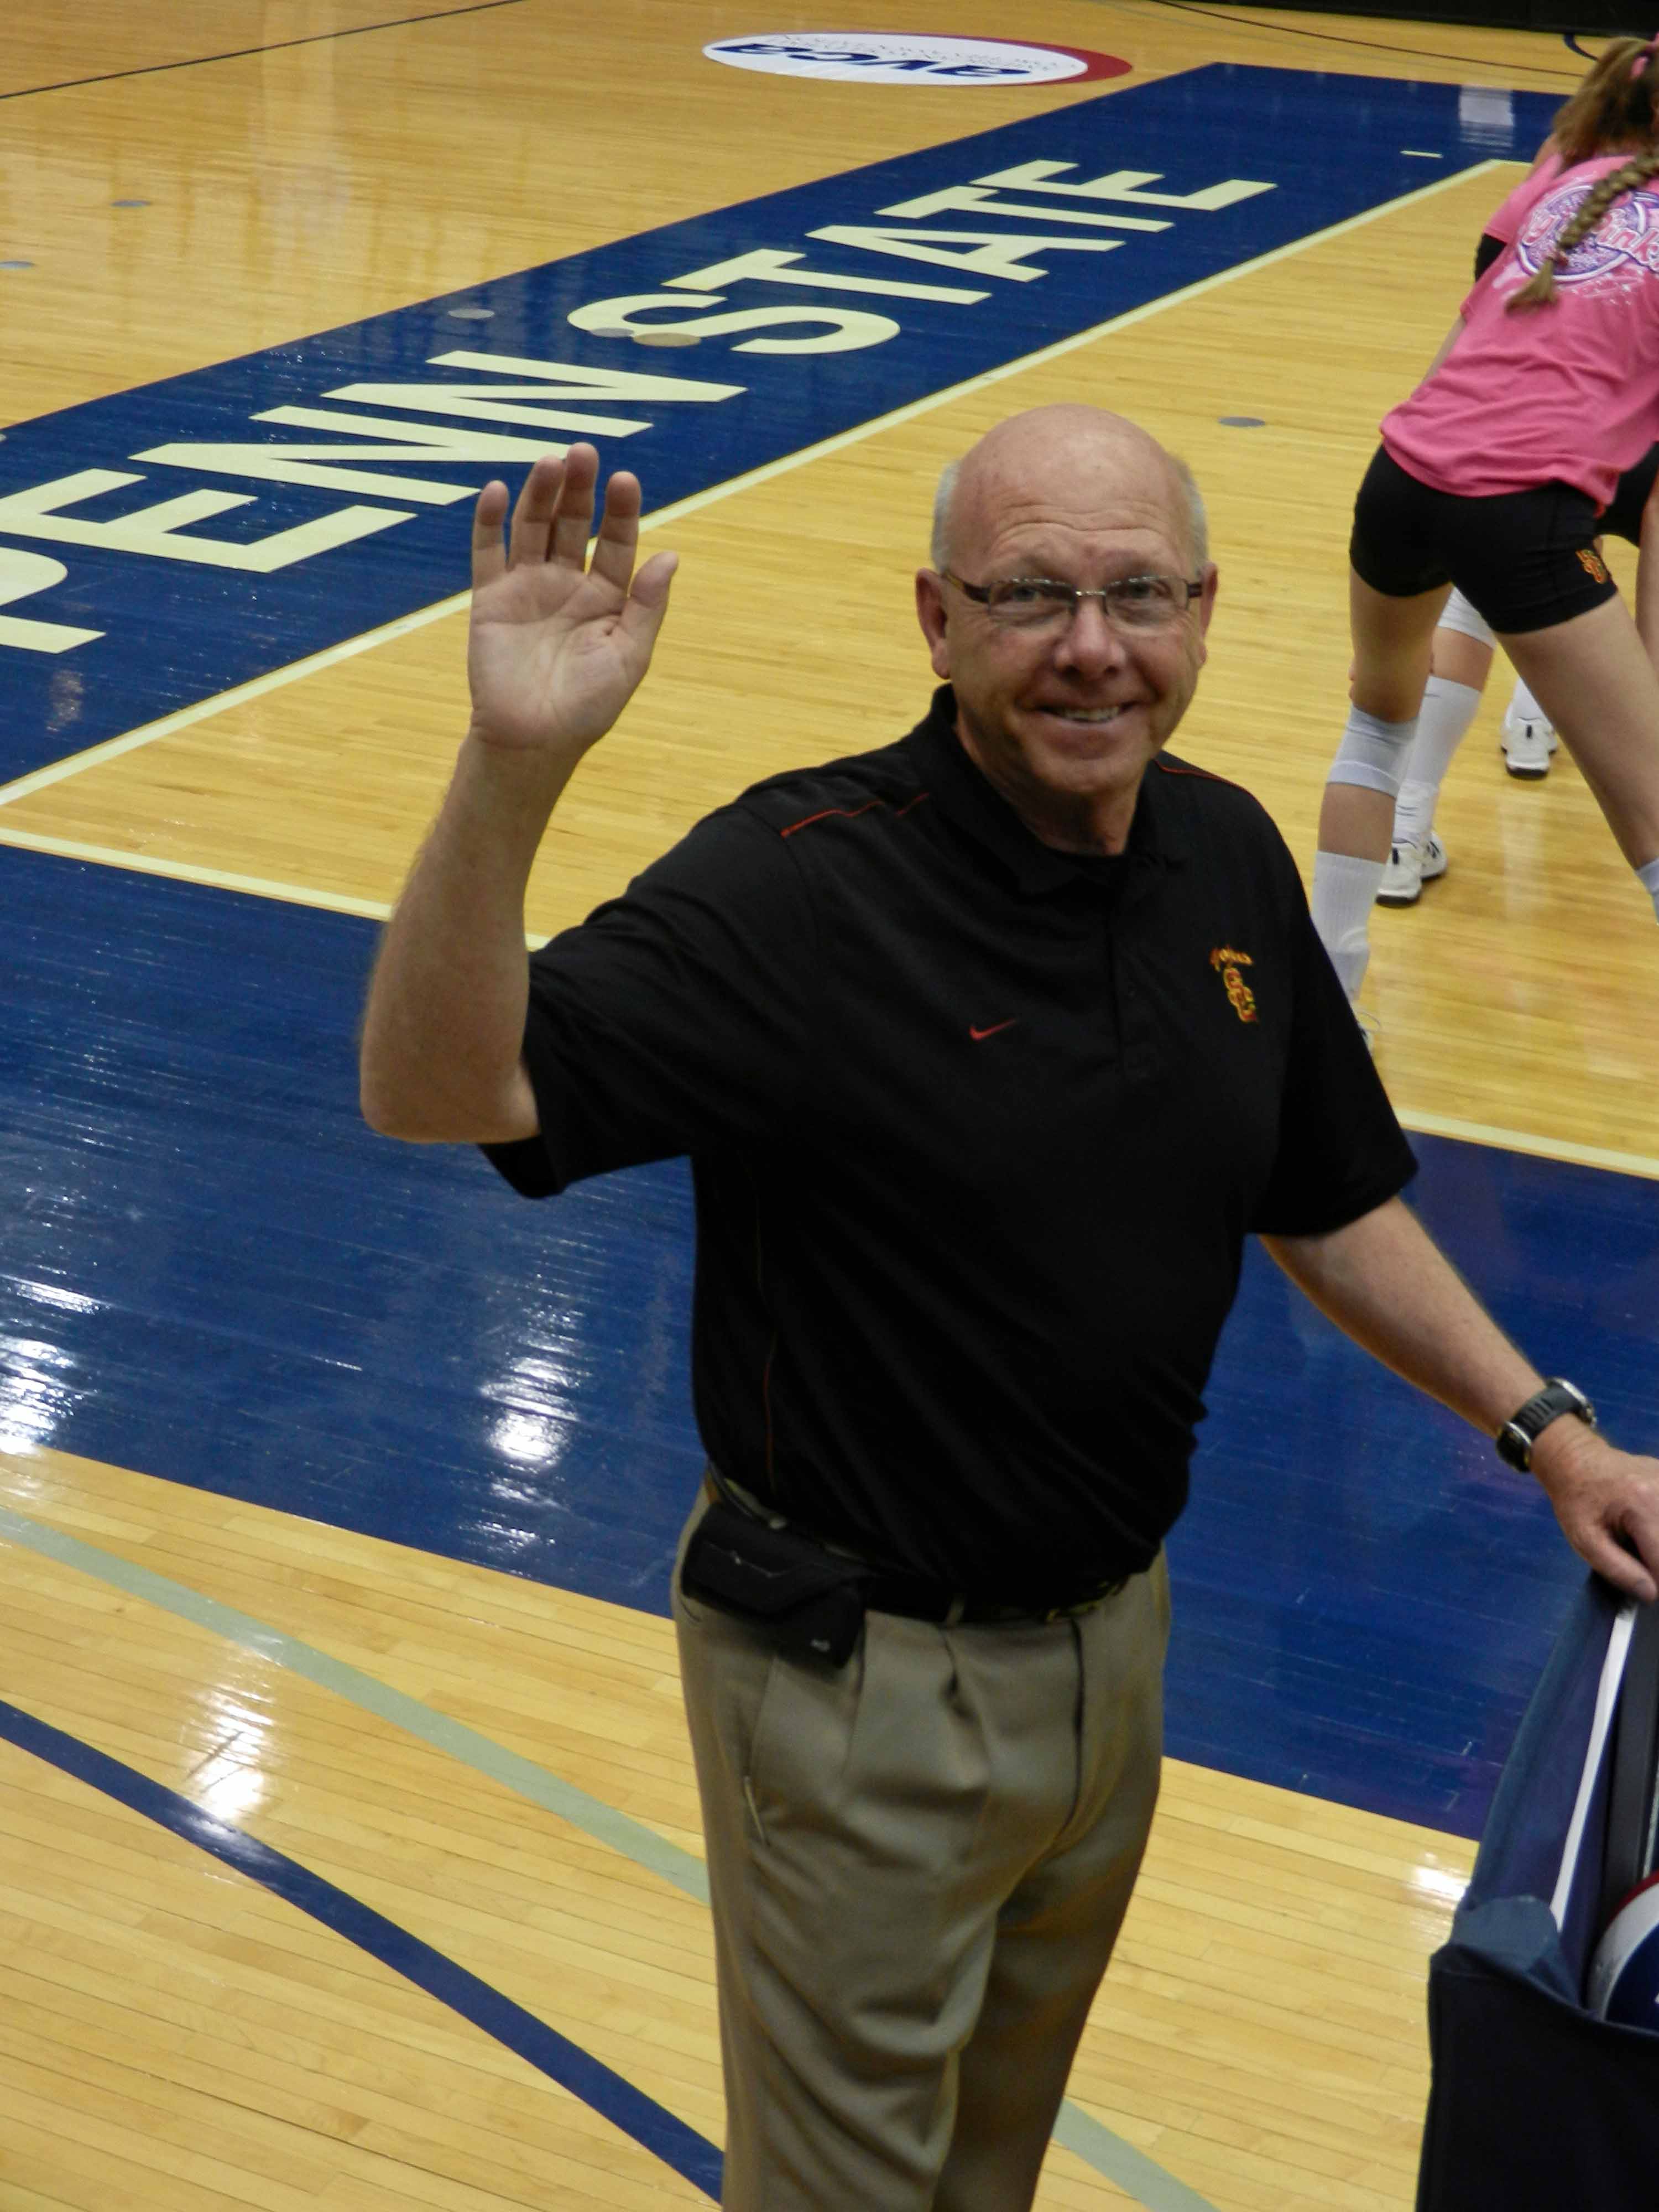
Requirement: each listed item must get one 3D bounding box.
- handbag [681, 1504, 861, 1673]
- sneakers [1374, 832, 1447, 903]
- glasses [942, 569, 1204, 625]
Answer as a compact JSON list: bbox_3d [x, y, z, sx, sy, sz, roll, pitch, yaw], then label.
[{"bbox_3d":[-0.039,0.302,1.325,0.111,0.069,0.037,27,30,31],"label":"handbag"},{"bbox_3d":[1.393,-0.570,5.042,0.111,0.108,0.286,11,27,28],"label":"sneakers"},{"bbox_3d":[0.154,-0.311,1.304,0.143,0.030,0.054,0,19,-6],"label":"glasses"}]
